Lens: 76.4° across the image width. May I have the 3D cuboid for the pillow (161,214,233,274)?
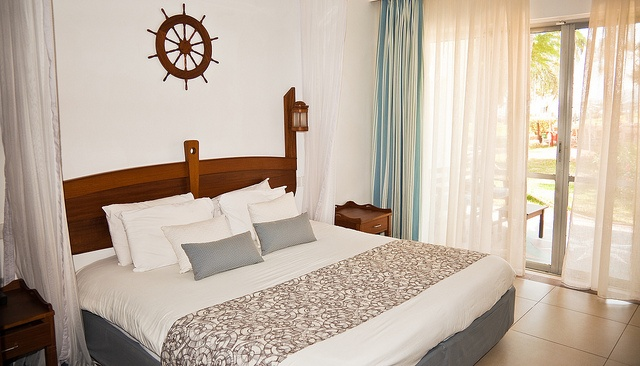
[{"bbox_3d":[-1.251,0.641,4.193,0.659,0.508,0.203,-14,-20,-44],"label":"pillow"}]

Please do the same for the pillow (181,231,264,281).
[{"bbox_3d":[-0.985,0.715,4.070,0.967,0.356,0.371,-9,33,-38],"label":"pillow"}]

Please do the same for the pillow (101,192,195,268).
[{"bbox_3d":[-1.970,0.513,4.235,0.886,0.640,0.230,-9,-11,-28],"label":"pillow"}]

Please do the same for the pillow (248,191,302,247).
[{"bbox_3d":[-0.536,0.423,4.826,0.718,0.463,0.208,-7,-20,-45],"label":"pillow"}]

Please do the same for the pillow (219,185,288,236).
[{"bbox_3d":[-0.903,0.369,4.780,0.622,0.522,0.167,-11,-12,-36],"label":"pillow"}]

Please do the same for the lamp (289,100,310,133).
[{"bbox_3d":[-0.250,-0.892,5.462,0.324,0.396,0.297,0,15,-4],"label":"lamp"}]

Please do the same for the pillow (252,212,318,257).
[{"bbox_3d":[-0.400,0.581,4.688,0.800,0.387,0.242,-10,-5,-43],"label":"pillow"}]
